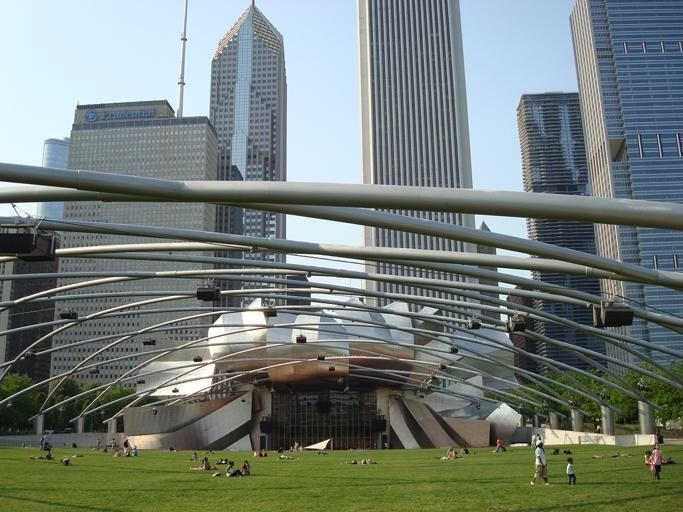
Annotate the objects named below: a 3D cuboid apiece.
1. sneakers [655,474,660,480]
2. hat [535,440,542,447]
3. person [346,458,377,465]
[{"bbox_3d":[20.474,14.188,54.572,0.236,0.196,0.435,-9,-2,44],"label":"sneakers"},{"bbox_3d":[12.643,11.805,53.755,0.381,0.393,0.804,-2,-7,6],"label":"hat"},{"bbox_3d":[1.913,16.993,70.063,1.877,0.369,0.930,1,-5,-12],"label":"person"}]
